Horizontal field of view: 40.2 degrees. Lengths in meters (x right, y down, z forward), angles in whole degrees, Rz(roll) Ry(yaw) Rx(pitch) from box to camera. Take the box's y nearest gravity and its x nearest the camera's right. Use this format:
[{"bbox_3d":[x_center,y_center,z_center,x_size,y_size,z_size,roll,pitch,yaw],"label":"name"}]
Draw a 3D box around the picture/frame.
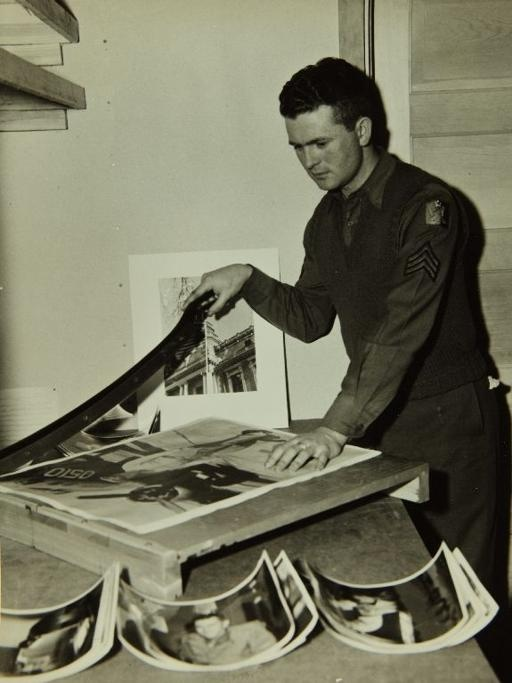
[{"bbox_3d":[-0.096,-0.007,1.292,0.341,0.382,0.030,-5,3,-7],"label":"picture/frame"}]
